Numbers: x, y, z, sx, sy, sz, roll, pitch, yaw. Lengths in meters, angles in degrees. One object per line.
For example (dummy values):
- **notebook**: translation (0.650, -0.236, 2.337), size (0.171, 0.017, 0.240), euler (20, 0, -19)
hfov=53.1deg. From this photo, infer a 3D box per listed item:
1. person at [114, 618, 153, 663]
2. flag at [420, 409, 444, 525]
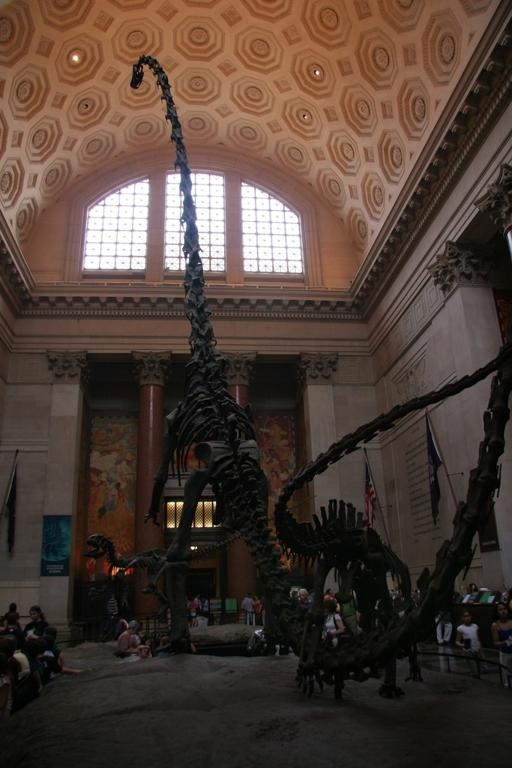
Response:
- **person**: translation (-1.330, 2.771, 5.551), size (0.330, 0.360, 1.070), euler (4, -20, -13)
- **flag**: translation (3.602, 1.712, 10.322), size (0.295, 2.014, 1.266), euler (-7, -20, 17)
